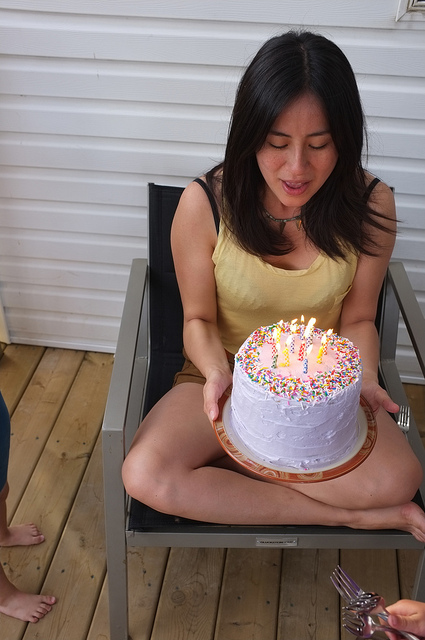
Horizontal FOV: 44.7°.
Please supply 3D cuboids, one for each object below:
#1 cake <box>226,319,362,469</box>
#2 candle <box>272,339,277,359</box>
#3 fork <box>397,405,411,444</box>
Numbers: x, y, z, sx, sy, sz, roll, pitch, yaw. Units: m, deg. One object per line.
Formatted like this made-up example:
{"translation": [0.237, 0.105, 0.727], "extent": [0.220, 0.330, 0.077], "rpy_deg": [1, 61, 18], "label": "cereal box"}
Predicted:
{"translation": [0.148, 0.094, 0.888], "extent": [0.223, 0.226, 0.238], "rpy_deg": [6, 29, 16], "label": "cake"}
{"translation": [0.107, 0.052, 0.910], "extent": [0.006, 0.026, 0.008], "rpy_deg": [5, -3, -5], "label": "candle"}
{"translation": [0.497, 0.268, 1.339], "extent": [0.025, 0.136, 0.019], "rpy_deg": [-1, -10, 13], "label": "fork"}
